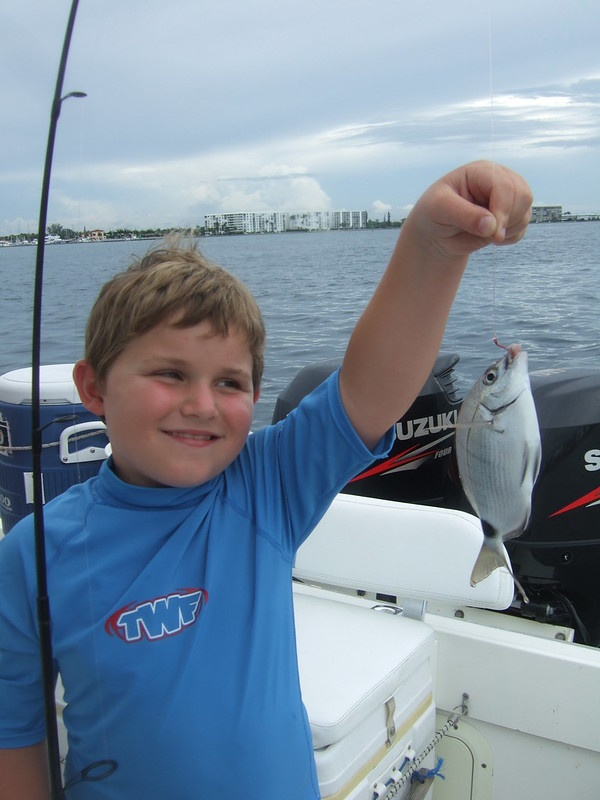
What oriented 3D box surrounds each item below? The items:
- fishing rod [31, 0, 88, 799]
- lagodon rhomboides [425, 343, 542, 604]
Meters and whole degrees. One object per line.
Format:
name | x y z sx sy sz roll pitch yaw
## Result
fishing rod | -0.337 0.011 0.983 0.078 1.094 0.216 -1 9 -21
lagodon rhomboides | 0.251 0.092 0.918 0.166 0.282 0.158 7 3 40
